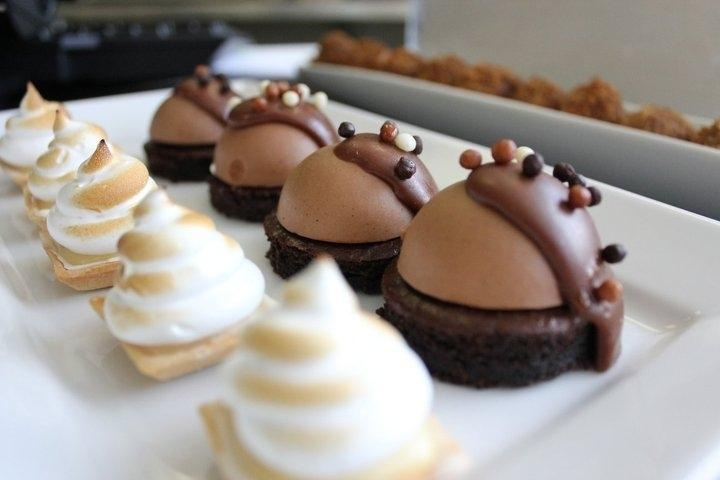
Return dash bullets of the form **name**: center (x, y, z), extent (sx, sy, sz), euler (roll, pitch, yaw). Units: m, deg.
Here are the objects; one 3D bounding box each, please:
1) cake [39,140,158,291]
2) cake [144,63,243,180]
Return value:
- **cake**: center (-1.032, -0.129, 2.714), extent (0.569, 0.482, 0.559), euler (-10, 30, -21)
- **cake**: center (-0.898, -0.625, 3.528), extent (0.498, 0.483, 0.518), euler (-4, 21, -19)
